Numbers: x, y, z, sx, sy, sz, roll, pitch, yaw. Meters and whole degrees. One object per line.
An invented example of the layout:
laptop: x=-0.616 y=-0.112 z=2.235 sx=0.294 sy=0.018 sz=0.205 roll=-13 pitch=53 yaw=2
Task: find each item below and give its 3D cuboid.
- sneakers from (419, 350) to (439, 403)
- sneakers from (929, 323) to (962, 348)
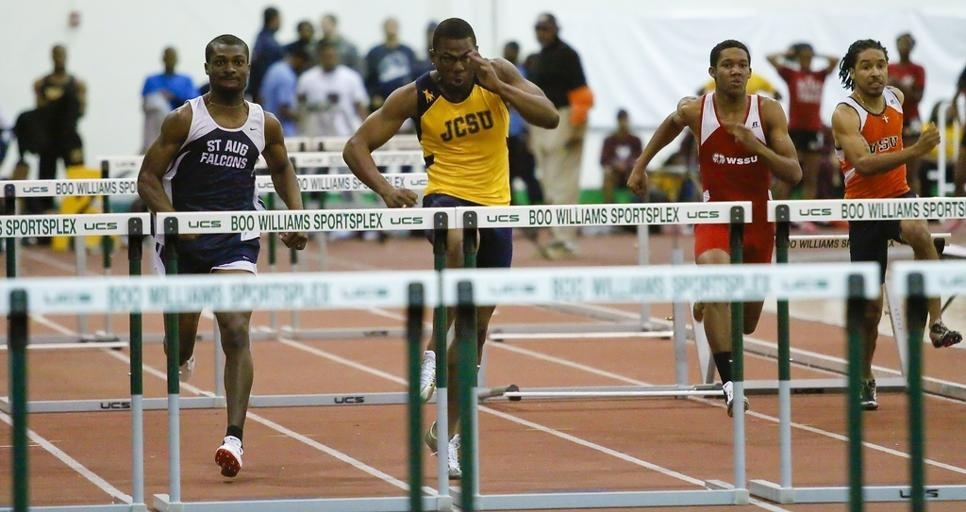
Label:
sneakers: x=-0.424 y=0.986 z=10.162 sx=0.158 sy=0.410 sz=0.174 roll=1 pitch=-13 yaw=-3
sneakers: x=4.211 y=0.725 z=11.474 sx=0.320 sy=0.204 sz=0.205 roll=-14 pitch=-1 yaw=42
